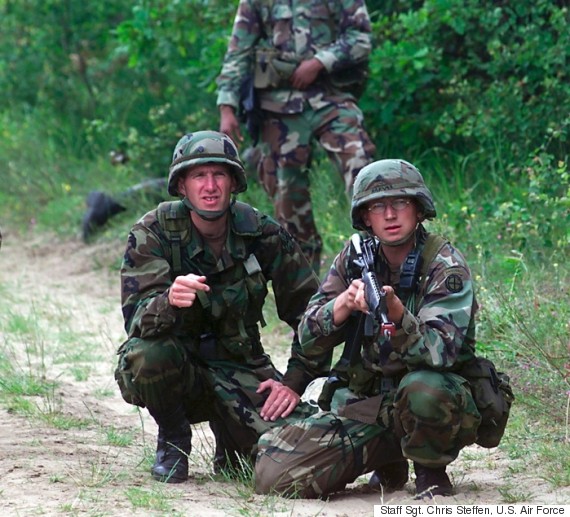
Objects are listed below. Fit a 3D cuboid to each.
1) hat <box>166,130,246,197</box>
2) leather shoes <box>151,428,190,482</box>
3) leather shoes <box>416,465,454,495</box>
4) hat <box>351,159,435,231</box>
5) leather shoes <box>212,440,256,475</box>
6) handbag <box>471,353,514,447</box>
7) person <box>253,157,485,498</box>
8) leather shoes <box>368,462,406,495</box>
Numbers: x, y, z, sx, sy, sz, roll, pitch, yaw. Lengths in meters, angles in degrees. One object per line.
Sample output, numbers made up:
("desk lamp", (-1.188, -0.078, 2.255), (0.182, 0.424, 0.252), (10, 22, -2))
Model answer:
("hat", (-0.419, -0.509, 4.882), (0.429, 0.368, 0.455), (-3, 0, 27))
("leather shoes", (-0.614, 0.987, 4.661), (0.127, 0.272, 0.394), (5, 6, -7))
("leather shoes", (0.680, 1.024, 4.154), (0.110, 0.153, 0.083), (-7, -21, -9))
("hat", (0.524, -0.329, 4.516), (0.411, 0.338, 0.388), (-9, 2, 9))
("leather shoes", (-0.243, 1.105, 4.832), (0.120, 0.235, 0.175), (2, -4, 43))
("handbag", (0.974, 0.697, 4.306), (0.143, 0.364, 0.282), (11, 0, 5))
("person", (0.429, 0.359, 4.316), (1.014, 1.623, 0.706), (2, 8, 14))
("leather shoes", (0.513, 1.101, 4.552), (0.167, 0.065, 0.128), (-21, -8, 4))
